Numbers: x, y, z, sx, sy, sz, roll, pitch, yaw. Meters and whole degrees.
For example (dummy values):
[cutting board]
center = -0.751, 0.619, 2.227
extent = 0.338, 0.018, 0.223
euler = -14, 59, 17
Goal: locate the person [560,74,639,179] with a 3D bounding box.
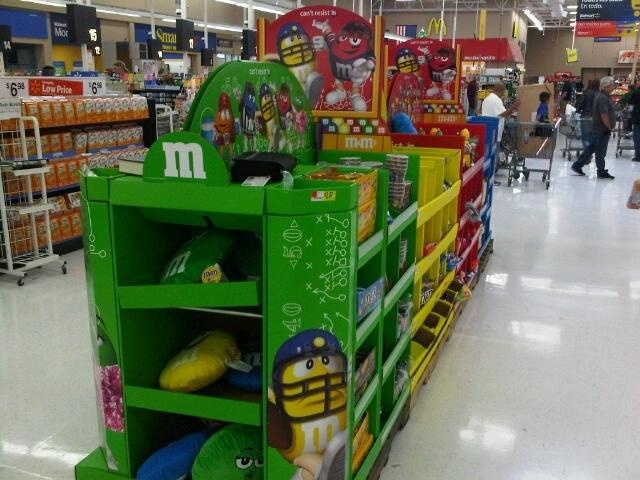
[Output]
[person]
center = 6.332, -2.583, 10.953
extent = 0.793, 2.199, 1.334
euler = 6, 15, 29

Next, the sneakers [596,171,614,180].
[sneakers]
center = 6.280, -1.427, 10.612
extent = 0.422, 0.208, 0.154
euler = 7, 13, 21

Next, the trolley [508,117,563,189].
[trolley]
center = 4.745, -1.841, 10.528
extent = 1.118, 1.133, 0.767
euler = 6, 9, 32
